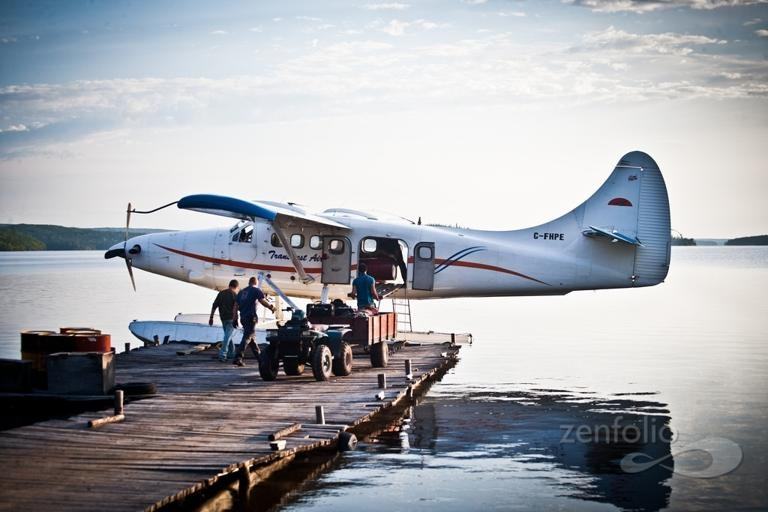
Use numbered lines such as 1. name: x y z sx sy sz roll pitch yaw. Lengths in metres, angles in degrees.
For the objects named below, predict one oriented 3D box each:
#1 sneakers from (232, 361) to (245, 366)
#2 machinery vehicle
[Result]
1. sneakers: -3.970 2.905 25.552 0.448 0.088 0.121 1 -36 -3
2. machinery vehicle: -1.506 2.360 25.081 2.334 1.000 4.126 -3 -2 21
